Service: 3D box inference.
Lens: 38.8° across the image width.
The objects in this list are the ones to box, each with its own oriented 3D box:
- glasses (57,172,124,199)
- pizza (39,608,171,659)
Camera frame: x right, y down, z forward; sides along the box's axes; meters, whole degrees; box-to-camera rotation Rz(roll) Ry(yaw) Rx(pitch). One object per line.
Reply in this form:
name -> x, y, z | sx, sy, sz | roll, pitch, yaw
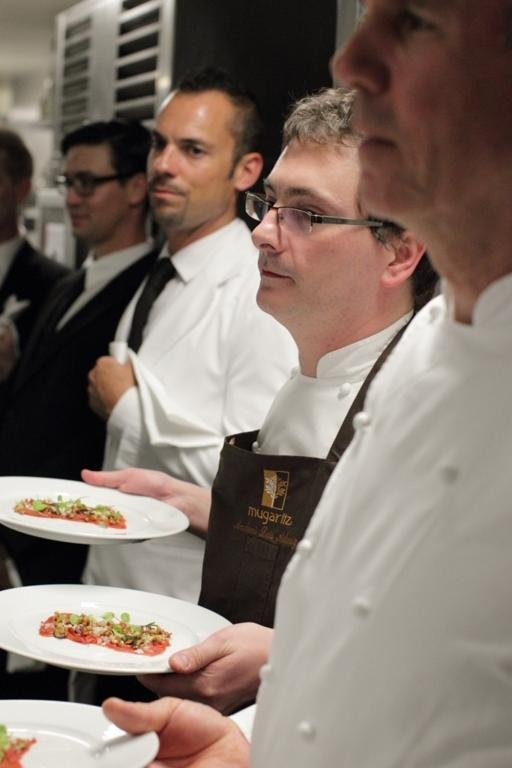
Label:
glasses -> -0.463, -0.514, 1.944 | 0.103, 0.027, 0.104 | 6, 8, 38
pizza -> -0.218, 0.365, 1.068 | 0.124, 0.019, 0.071 | 4, 4, 7
